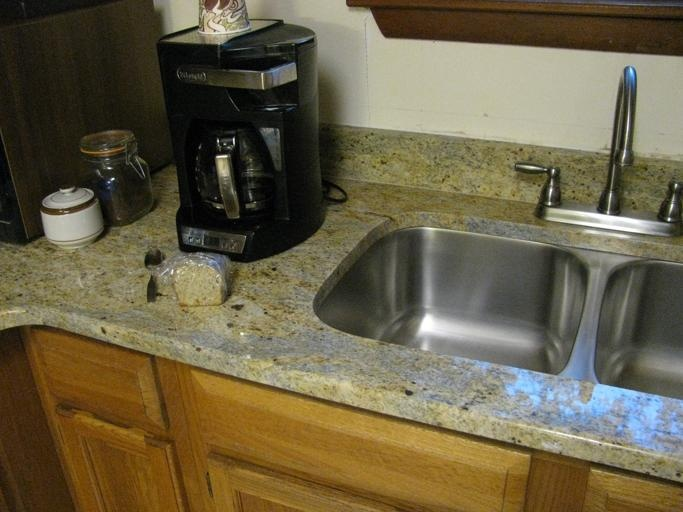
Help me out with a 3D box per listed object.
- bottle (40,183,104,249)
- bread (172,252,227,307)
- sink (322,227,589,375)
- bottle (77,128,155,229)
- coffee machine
[{"bbox_3d":[-0.612,-0.093,1.309,0.139,0.158,0.175,-8,-9,-14],"label":"bottle"},{"bbox_3d":[-0.268,0.050,1.095,0.116,0.069,0.102,0,20,-1],"label":"bread"},{"bbox_3d":[0.289,0.106,1.387,0.494,0.151,0.353,10,40,21],"label":"sink"},{"bbox_3d":[-0.566,-0.184,1.408,0.188,0.187,0.186,-19,31,-33],"label":"bottle"},{"bbox_3d":[-0.205,-0.252,1.257,0.332,0.472,0.287,-1,25,-2],"label":"coffee machine"}]
